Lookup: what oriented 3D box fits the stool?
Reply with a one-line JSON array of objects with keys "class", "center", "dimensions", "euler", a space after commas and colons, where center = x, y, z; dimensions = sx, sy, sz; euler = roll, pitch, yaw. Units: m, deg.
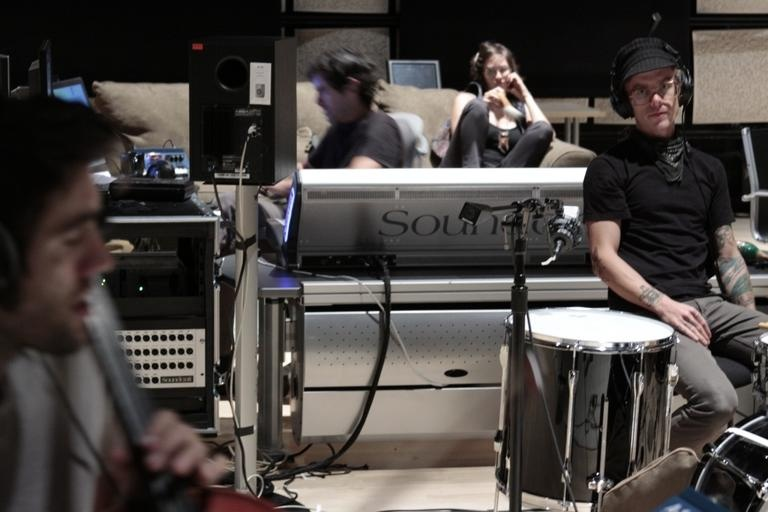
[{"class": "stool", "center": [1.025, 0.431, 3.172], "dimensions": [0.278, 0.287, 0.223], "euler": [-4, 1, 20]}]

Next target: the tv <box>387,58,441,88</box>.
[{"class": "tv", "center": [0.188, -1.160, 6.367], "dimensions": [0.403, 0.261, 0.038], "euler": [4, -26, -15]}]

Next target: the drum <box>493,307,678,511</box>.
[{"class": "drum", "center": [0.571, 0.438, 3.267], "dimensions": [0.618, 0.560, 0.592], "euler": [2, 12, 3]}]

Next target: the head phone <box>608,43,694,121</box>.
[{"class": "head phone", "center": [0.945, -0.629, 3.537], "dimensions": [0.281, 0.245, 0.271], "euler": [-3, 3, 2]}]

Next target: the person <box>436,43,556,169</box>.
[{"class": "person", "center": [0.545, -0.794, 5.046], "dimensions": [0.587, 0.702, 1.049], "euler": [0, 4, 2]}]

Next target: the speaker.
[{"class": "speaker", "center": [-0.418, -0.459, 3.219], "dimensions": [0.304, 0.402, 0.326], "euler": [2, 8, 18]}]

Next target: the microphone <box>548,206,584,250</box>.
[{"class": "microphone", "center": [0.548, -0.097, 3.018], "dimensions": [0.085, 0.068, 0.146], "euler": [1, 45, 13]}]

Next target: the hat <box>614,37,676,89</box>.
[{"class": "hat", "center": [0.912, -0.669, 3.467], "dimensions": [0.257, 0.104, 0.214], "euler": [-14, -11, -37]}]
